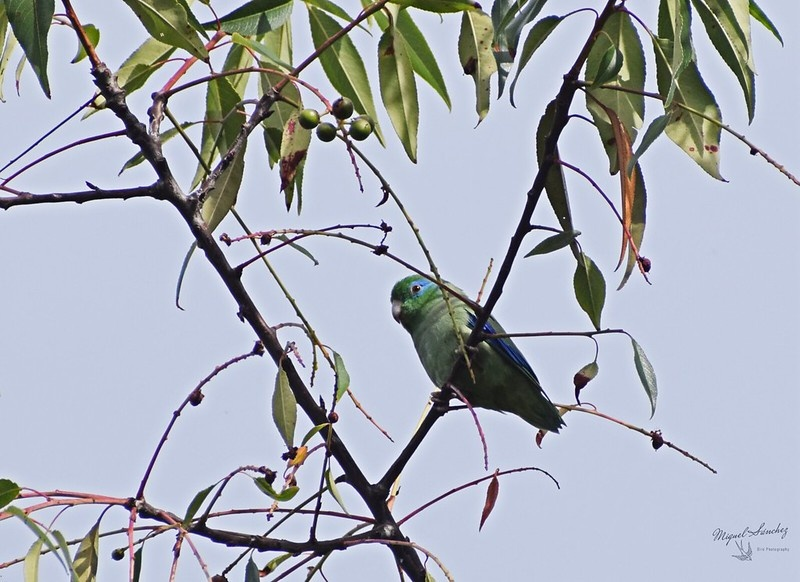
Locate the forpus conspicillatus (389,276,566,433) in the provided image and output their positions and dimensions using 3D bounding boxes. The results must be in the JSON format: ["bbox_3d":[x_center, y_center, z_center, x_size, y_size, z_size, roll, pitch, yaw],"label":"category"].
[{"bbox_3d":[0.348,0.307,5.332,0.740,0.862,0.436,12,-56,-14],"label":"forpus conspicillatus"}]
